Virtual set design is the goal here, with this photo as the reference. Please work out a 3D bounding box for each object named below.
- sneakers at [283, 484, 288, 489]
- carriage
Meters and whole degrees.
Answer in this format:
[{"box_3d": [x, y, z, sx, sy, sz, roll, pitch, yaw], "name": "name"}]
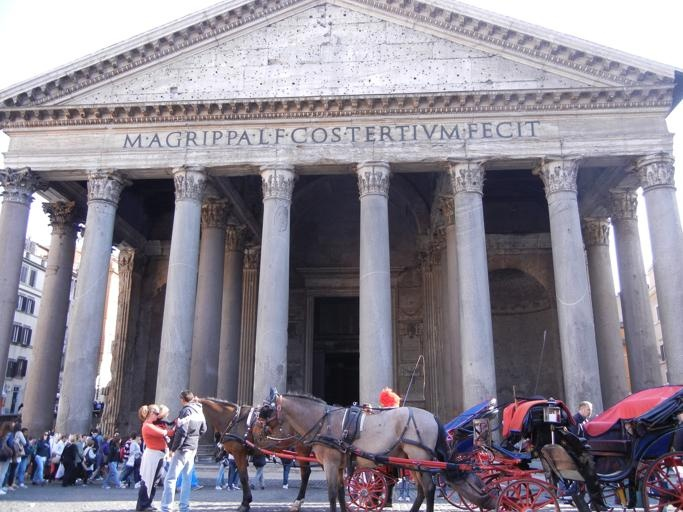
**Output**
[{"box_3d": [-1.642, 6.723, 17.325, 0.122, 0.095, 0.092, 2, -18, -1], "name": "sneakers"}, {"box_3d": [1.764, 4.373, 13.262, 11.955, 3.305, 3.015, 1, -28, 1], "name": "carriage"}]
